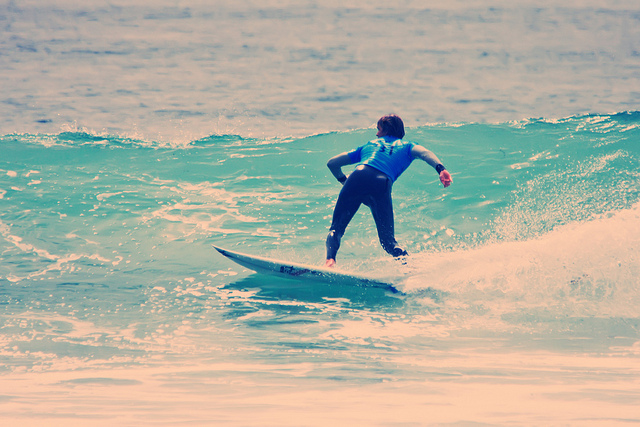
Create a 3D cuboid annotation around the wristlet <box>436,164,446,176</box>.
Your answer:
[{"bbox_3d":[2.570,-0.927,22.956,0.174,0.198,0.190,2,2,4],"label":"wristlet"}]
